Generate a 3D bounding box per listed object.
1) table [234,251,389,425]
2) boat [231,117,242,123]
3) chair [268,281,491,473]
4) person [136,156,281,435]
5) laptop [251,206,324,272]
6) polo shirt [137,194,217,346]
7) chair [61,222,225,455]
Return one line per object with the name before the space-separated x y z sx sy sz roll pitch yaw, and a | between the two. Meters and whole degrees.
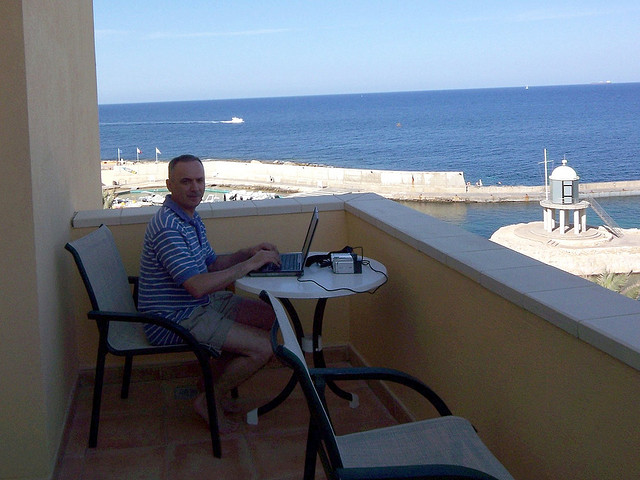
table | -0.013 0.448 3.269 0.891 0.990 0.947 -4 7 -30
boat | -21.076 -30.152 137.337 3.446 0.847 3.282 0 24 -5
chair | 0.301 0.673 2.699 0.677 1.011 0.712 -9 13 -3
person | -0.652 0.312 3.159 0.827 1.563 0.785 -3 12 -7
laptop | -0.165 0.058 3.194 0.368 0.259 0.400 -8 18 6
polo shirt | -0.835 0.096 3.083 0.411 0.677 0.496 -5 12 -18
chair | -0.949 0.533 3.261 0.895 1.076 0.901 -4 12 -25
